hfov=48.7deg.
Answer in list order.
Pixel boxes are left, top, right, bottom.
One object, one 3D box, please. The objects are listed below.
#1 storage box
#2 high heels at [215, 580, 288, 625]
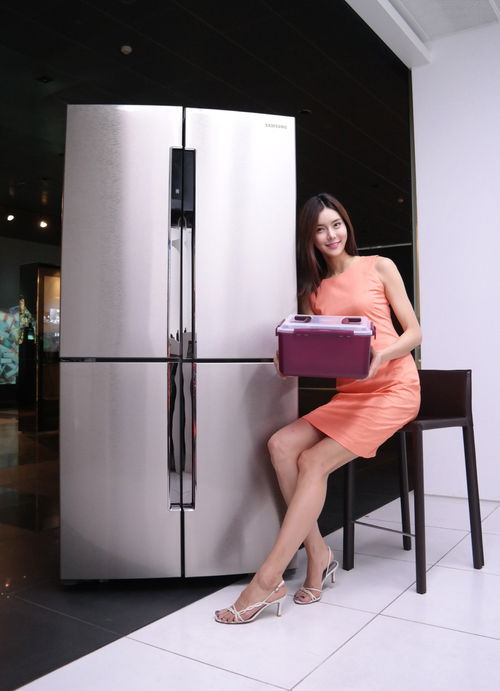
[{"bbox_3d":[0.222,-0.005,1.652,0.287,0.204,0.182,-1,-5,11],"label":"storage box"},{"bbox_3d":[0.001,0.753,1.635,0.222,0.125,0.092,-2,-7,-7],"label":"high heels"}]
